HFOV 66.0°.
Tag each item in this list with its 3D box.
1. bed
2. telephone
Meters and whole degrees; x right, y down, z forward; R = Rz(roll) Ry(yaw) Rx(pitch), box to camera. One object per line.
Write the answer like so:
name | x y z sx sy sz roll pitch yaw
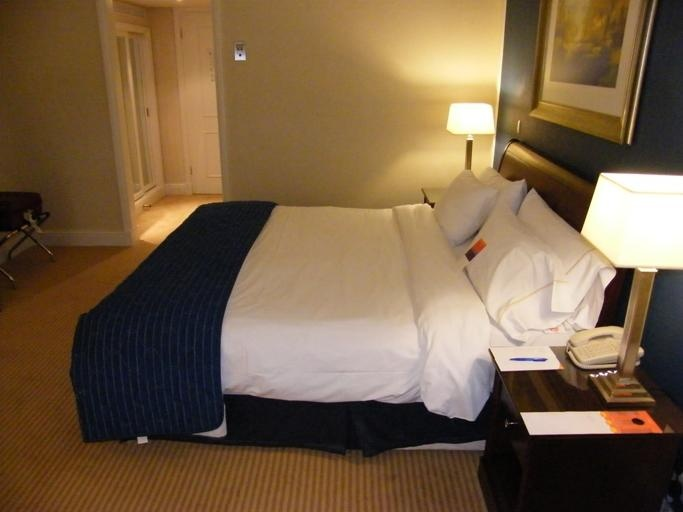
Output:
bed | 0.029 0.257 3.204 2.051 1.115 2.223 5 35 2
telephone | 1.319 0.460 2.662 0.322 0.129 0.303 -5 13 1
